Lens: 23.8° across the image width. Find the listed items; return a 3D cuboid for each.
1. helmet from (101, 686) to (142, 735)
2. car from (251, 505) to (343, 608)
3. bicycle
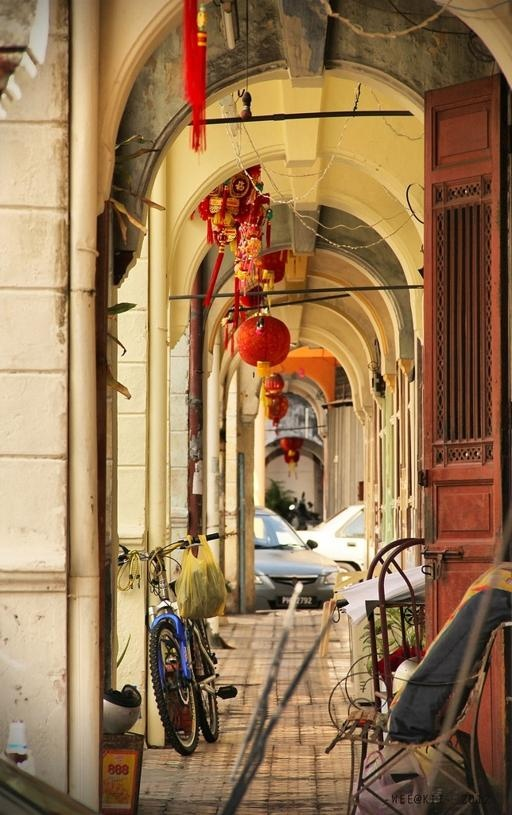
[{"bbox_3d":[-0.567,1.220,5.093,0.164,0.230,0.195,-6,22,-5],"label":"helmet"},{"bbox_3d":[0.439,1.850,14.755,0.956,1.031,2.017,0,-8,-9],"label":"car"},{"bbox_3d":[-0.456,1.239,6.415,0.552,1.123,1.105,-1,-6,7],"label":"bicycle"}]
